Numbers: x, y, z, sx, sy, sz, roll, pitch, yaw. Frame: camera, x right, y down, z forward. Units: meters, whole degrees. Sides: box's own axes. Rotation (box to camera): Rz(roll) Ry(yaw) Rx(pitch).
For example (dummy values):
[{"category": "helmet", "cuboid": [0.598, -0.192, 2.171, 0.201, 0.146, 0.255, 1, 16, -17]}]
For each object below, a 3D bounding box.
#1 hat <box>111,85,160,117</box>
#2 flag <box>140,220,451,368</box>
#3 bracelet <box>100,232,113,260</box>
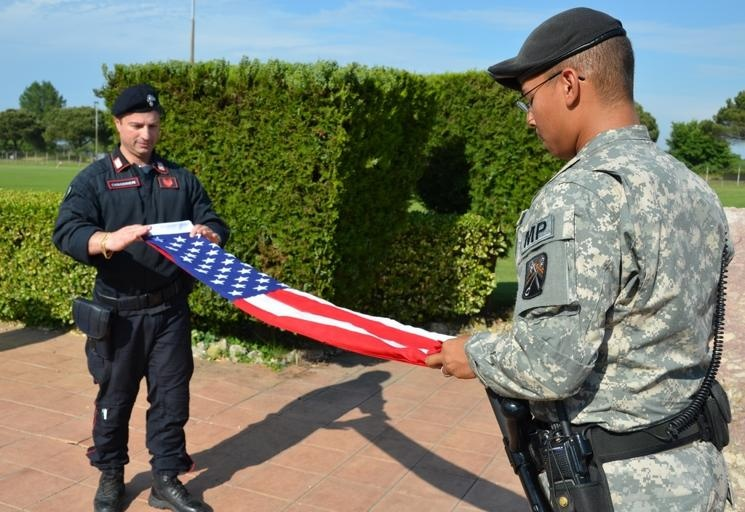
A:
[{"category": "hat", "cuboid": [-1.737, -1.148, 5.922, 0.224, 0.145, 0.310, -10, 8, -42]}, {"category": "flag", "cuboid": [-0.792, 0.346, 7.290, 3.004, 0.565, 0.797, 18, 19, 30]}, {"category": "bracelet", "cuboid": [-1.889, -0.086, 5.650, 0.053, 0.152, 0.112, -5, -24, 20]}]
